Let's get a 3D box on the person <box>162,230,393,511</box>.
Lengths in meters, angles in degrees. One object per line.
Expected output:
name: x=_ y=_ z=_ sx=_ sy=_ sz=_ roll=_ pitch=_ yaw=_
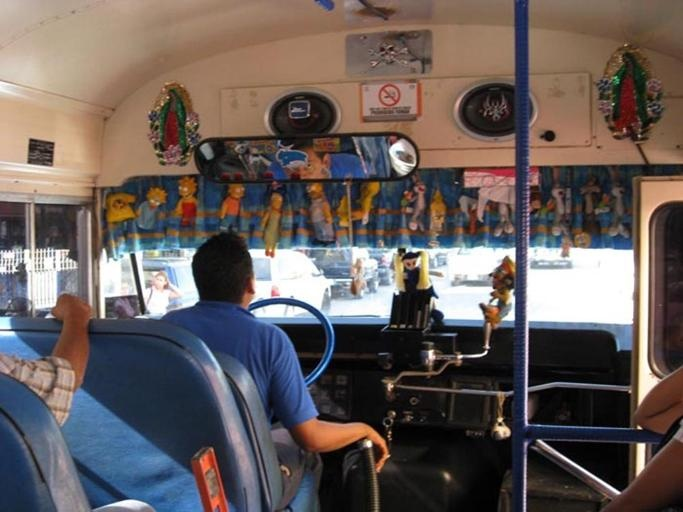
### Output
person: x=-0.418 y=0.523 z=2.684 sx=1.224 sy=1.219 sz=0.625 roll=3 pitch=0 yaw=9
